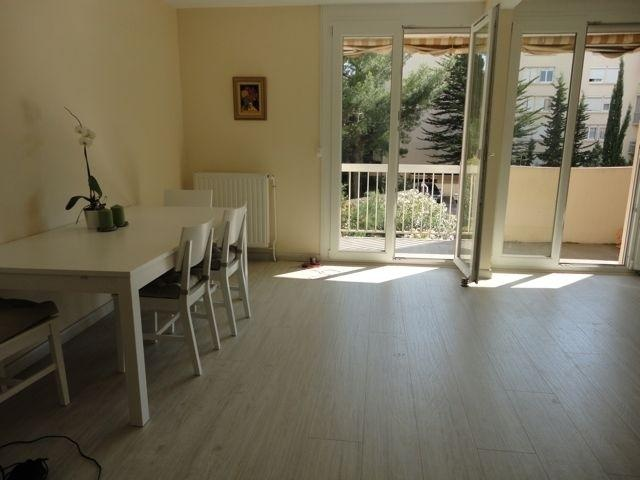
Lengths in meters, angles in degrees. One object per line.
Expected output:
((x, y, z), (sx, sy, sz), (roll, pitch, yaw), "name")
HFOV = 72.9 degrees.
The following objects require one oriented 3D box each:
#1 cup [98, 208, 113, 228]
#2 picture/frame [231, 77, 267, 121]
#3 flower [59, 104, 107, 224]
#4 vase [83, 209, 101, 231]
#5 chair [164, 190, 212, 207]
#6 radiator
((-1.478, -0.167, 3.027), (0.108, 0.136, 0.109), (3, 15, -1), "cup")
((-0.772, -1.579, 4.744), (0.383, 0.518, 0.034), (3, 14, 8), "picture/frame")
((-1.752, -0.540, 3.173), (0.273, 0.847, 0.651), (-6, 15, -27), "flower")
((-1.597, -0.148, 3.015), (0.120, 0.143, 0.127), (-1, 5, -42), "vase")
((-1.202, -0.381, 3.917), (0.449, 0.141, 0.158), (4, 14, 12), "chair")
((-0.853, -0.338, 4.088), (0.728, 0.799, 0.102), (2, 9, 1), "radiator")
